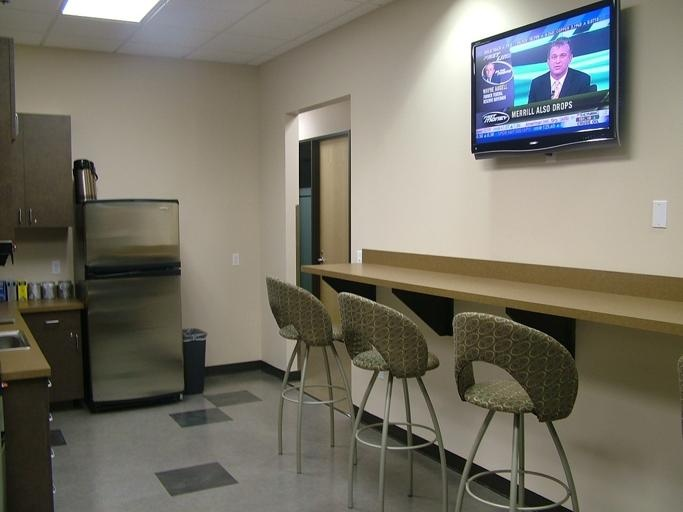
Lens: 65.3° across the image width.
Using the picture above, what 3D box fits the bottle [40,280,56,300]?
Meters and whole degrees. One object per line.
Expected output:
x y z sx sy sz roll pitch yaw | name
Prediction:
-2.919 0.337 5.286 0.146 0.181 0.147 -3 5 -44 | bottle

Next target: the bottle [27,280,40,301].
-3.015 0.346 5.208 0.133 0.242 0.142 1 -1 0 | bottle

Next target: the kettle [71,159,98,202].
-2.521 -0.735 5.215 0.207 0.427 0.358 -3 6 -28 | kettle

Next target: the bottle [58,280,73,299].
-2.777 0.336 5.347 0.143 0.167 0.124 -4 7 -36 | bottle
